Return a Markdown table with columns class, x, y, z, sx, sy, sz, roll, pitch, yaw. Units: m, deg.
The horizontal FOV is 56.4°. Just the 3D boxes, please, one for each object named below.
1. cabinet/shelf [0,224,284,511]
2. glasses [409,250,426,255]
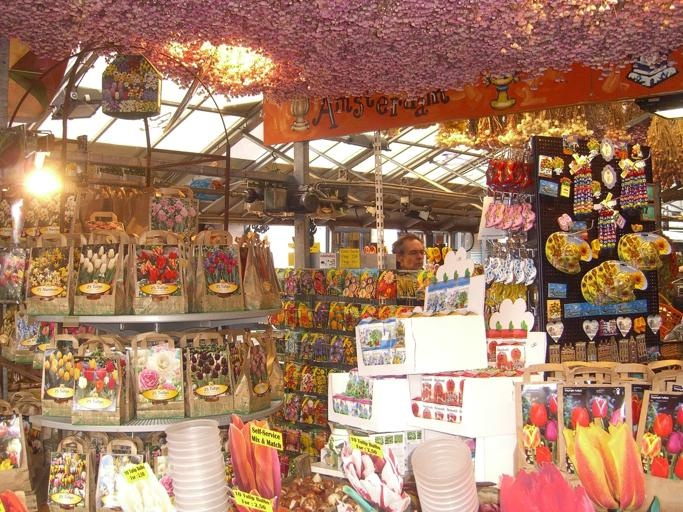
| class | x | y | z | sx | sy | sz | roll | pitch | yaw |
| --- | --- | --- | --- | --- | --- | --- | --- | --- | --- |
| cabinet/shelf | -0.983 | 0.666 | 3.889 | 1.440 | 1.574 | 1.550 | -4 | -6 | 20 |
| glasses | 0.793 | -0.029 | 6.697 | 0.210 | 0.060 | 0.068 | 2 | -4 | -41 |
